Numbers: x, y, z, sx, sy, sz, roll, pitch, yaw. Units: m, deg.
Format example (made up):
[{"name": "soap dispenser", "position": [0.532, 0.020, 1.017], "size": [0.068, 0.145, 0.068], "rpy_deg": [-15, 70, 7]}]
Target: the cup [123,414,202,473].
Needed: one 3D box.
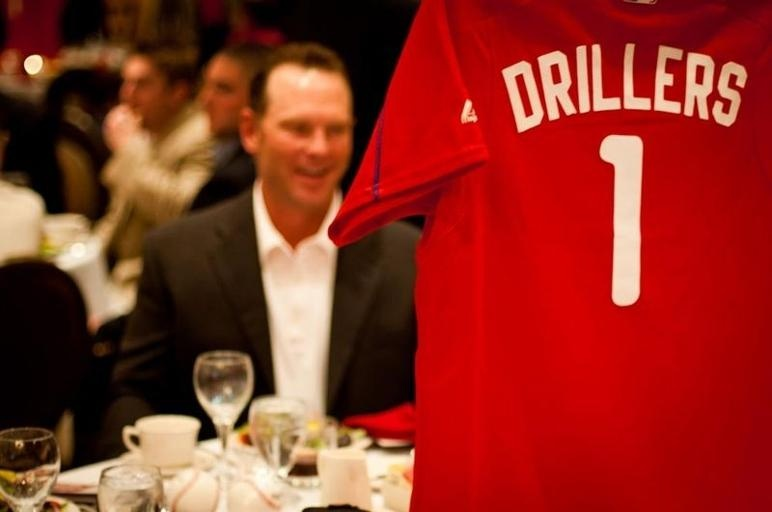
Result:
[{"name": "cup", "position": [-0.597, 0.502, 2.037], "size": [0.181, 0.128, 0.150], "rpy_deg": [4, 2, -19]}]

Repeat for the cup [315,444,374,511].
[{"name": "cup", "position": [-0.098, 0.520, 1.844], "size": [0.131, 0.135, 0.130], "rpy_deg": [-2, -7, 0]}]

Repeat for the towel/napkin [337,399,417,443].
[{"name": "towel/napkin", "position": [-0.018, 0.451, 2.127], "size": [0.140, 0.061, 0.106], "rpy_deg": [-3, -1, 19]}]

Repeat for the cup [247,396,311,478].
[{"name": "cup", "position": [-0.262, 0.461, 2.004], "size": [0.142, 0.226, 0.150], "rpy_deg": [2, 6, 0]}]
